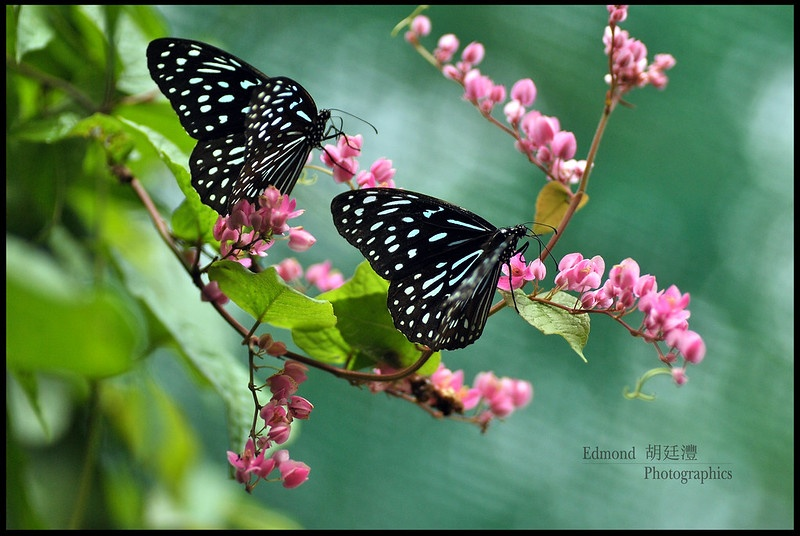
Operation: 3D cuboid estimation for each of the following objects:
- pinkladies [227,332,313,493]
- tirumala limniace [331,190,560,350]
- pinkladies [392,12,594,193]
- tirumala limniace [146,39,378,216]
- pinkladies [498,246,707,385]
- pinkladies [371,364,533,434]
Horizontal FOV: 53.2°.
[{"bbox_3d":[-0.228,0.263,1.404,0.117,0.317,0.107,-3,2,-31],"label":"pinkladies"},{"bbox_3d":[0.052,-0.013,1.360,0.412,0.386,0.202,-2,-4,15],"label":"tirumala limniace"},{"bbox_3d":[0.194,-0.308,1.496,0.294,0.219,0.417,14,17,-38],"label":"pinkladies"},{"bbox_3d":[-0.244,-0.279,1.412,0.415,0.324,0.337,-15,26,-3],"label":"tirumala limniace"},{"bbox_3d":[0.342,0.058,1.335,0.347,0.176,0.095,26,13,6],"label":"pinkladies"},{"bbox_3d":[0.117,0.246,1.454,0.215,0.085,0.194,9,-16,-5],"label":"pinkladies"}]
